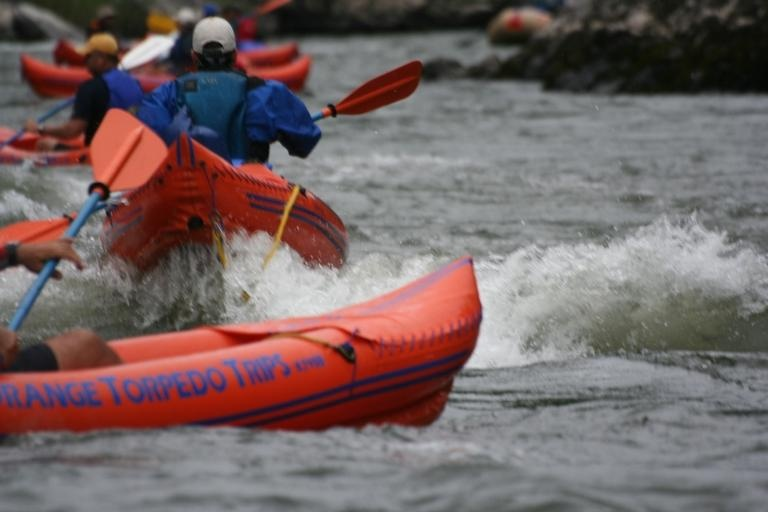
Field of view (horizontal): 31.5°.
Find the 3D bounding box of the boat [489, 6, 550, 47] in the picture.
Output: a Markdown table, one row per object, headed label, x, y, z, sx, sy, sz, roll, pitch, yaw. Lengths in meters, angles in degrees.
| label | x | y | z | sx | sy | sz | roll | pitch | yaw |
| --- | --- | --- | --- | --- | --- | --- | --- | --- | --- |
| boat | 2.251 | -4.022 | 23.246 | 0.725 | 0.288 | 1.044 | 11 | -15 | -27 |
